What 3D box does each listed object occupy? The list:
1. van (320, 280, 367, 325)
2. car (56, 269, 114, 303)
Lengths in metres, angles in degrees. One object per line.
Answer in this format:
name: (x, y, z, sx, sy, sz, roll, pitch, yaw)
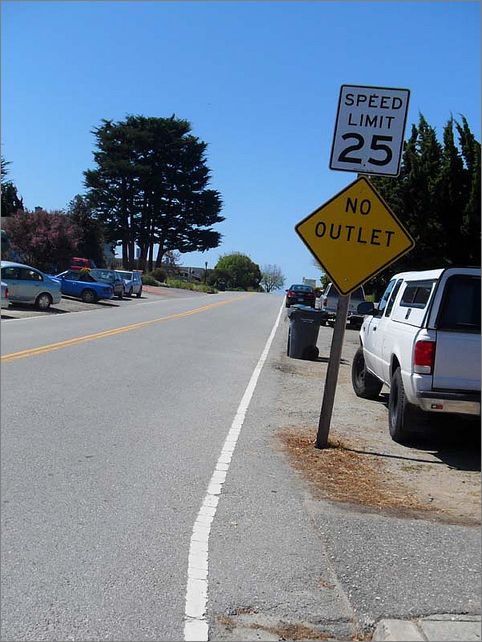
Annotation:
van: (5.487, -0.781, 26.617, 2.383, 2.506, 5.112, 1, 5, 0)
car: (-9.685, -2.076, 30.014, 3.019, 2.042, 1.052, 4, -1, 14)
